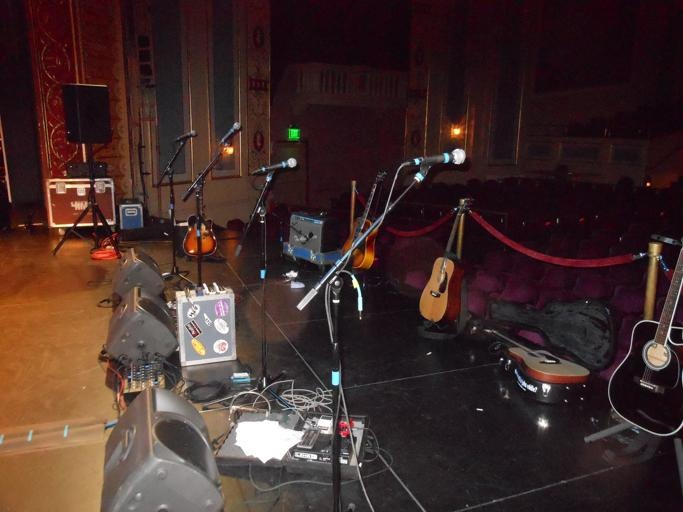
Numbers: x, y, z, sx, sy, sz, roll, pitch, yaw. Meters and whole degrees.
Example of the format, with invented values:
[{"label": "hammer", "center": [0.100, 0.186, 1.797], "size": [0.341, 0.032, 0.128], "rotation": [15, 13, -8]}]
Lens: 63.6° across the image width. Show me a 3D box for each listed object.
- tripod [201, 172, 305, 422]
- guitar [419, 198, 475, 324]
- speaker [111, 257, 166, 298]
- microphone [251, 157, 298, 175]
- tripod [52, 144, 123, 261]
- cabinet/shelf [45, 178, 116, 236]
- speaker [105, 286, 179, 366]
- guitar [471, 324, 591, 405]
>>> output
[{"label": "tripod", "center": [-0.840, 0.236, 4.920], "size": [0.845, 2.208, 0.887], "rotation": [-1, 12, -17]}, {"label": "guitar", "center": [1.166, 0.060, 6.248], "size": [0.480, 1.455, 0.796], "rotation": [5, 13, 11]}, {"label": "speaker", "center": [-2.311, 0.298, 6.300], "size": [0.488, 0.532, 0.491], "rotation": [9, 11, -33]}, {"label": "microphone", "center": [-0.577, -0.789, 4.890], "size": [0.401, 0.162, 0.301], "rotation": [11, 15, 30]}, {"label": "tripod", "center": [-3.888, -0.809, 8.394], "size": [0.923, 1.799, 0.961], "rotation": [21, 35, 15]}, {"label": "cabinet/shelf", "center": [-4.635, -0.816, 9.829], "size": [1.094, 0.904, 0.708], "rotation": [-7, -14, -26]}, {"label": "speaker", "center": [-1.911, 0.657, 5.270], "size": [0.587, 0.542, 0.726], "rotation": [1, 17, -18]}, {"label": "guitar", "center": [1.761, 1.012, 5.249], "size": [0.403, 0.164, 0.876], "rotation": [1, 9, -26]}]
